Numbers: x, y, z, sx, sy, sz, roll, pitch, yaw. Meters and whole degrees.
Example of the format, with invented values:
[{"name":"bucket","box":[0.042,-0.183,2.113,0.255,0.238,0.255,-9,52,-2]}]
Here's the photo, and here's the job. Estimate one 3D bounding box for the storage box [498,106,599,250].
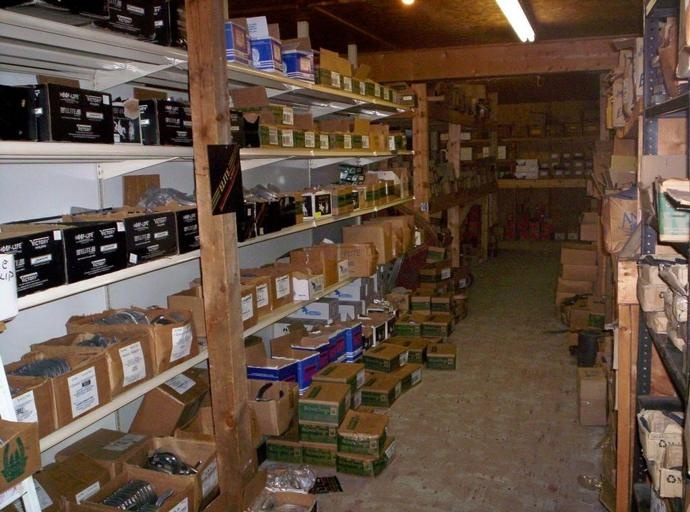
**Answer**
[{"name":"storage box","box":[4.172,-1.696,11.487,3.279,2.960,0.986,-3,11,-19]}]
